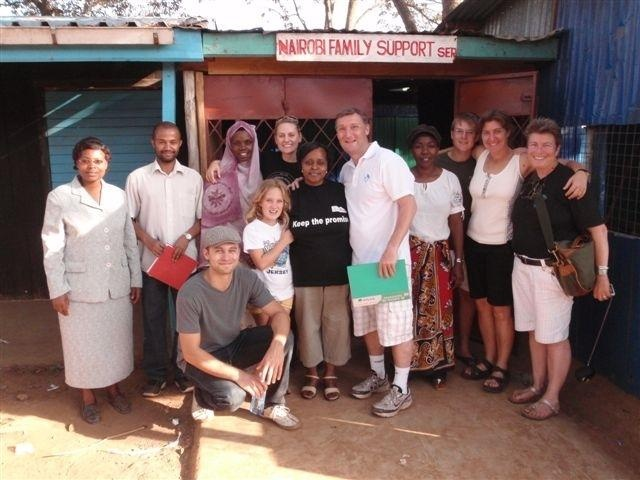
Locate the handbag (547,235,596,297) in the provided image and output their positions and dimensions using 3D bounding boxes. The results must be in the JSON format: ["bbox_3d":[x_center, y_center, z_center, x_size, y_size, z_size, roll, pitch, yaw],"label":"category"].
[{"bbox_3d":[2.051,0.238,4.260,0.376,0.443,0.222,-21,11,-27],"label":"handbag"}]

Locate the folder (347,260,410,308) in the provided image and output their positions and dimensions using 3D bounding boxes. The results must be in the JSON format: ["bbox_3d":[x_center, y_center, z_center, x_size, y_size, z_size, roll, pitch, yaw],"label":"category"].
[{"bbox_3d":[0.483,0.350,4.306,0.494,0.335,0.110,-4,16,-9],"label":"folder"}]

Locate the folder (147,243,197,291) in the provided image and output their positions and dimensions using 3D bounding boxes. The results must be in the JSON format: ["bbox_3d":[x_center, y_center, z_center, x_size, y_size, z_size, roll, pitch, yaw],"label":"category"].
[{"bbox_3d":[-1.299,0.245,4.772,0.366,0.378,0.289,9,19,18],"label":"folder"}]
